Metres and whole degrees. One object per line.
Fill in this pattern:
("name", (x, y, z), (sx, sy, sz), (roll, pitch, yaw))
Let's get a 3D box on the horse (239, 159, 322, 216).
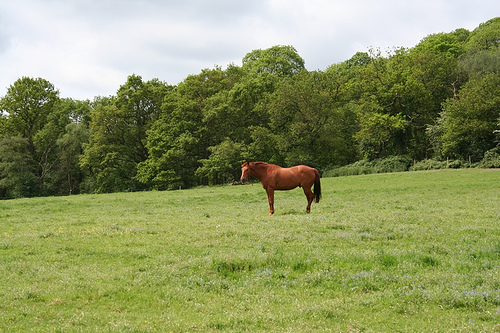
("horse", (2.707, 1.565, 43.039), (5.675, 3.939, 2.127), (-1, 6, 11))
